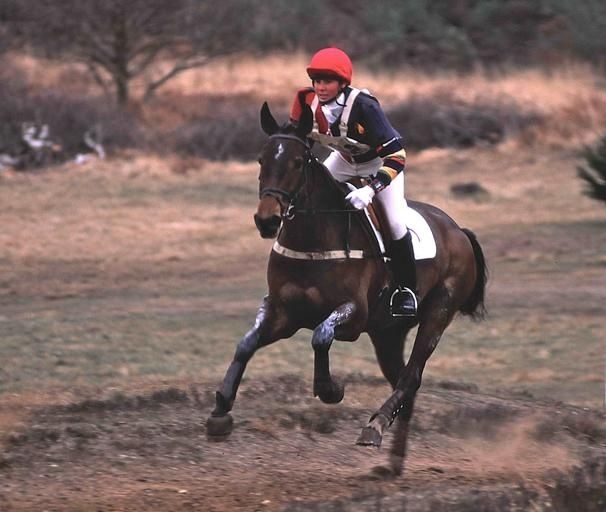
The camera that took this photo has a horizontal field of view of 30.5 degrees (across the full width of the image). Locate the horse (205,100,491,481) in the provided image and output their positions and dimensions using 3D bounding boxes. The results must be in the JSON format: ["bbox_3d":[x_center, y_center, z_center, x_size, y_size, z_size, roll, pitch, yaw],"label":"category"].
[{"bbox_3d":[0.495,0.330,10.537,2.804,3.505,1.083,-8,14,-43],"label":"horse"}]

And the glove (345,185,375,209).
[{"bbox_3d":[0.501,-0.533,10.062,0.221,0.214,0.218,6,10,26],"label":"glove"}]

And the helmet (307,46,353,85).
[{"bbox_3d":[0.258,-1.760,10.278,0.504,0.333,0.364,-1,7,-35],"label":"helmet"}]
